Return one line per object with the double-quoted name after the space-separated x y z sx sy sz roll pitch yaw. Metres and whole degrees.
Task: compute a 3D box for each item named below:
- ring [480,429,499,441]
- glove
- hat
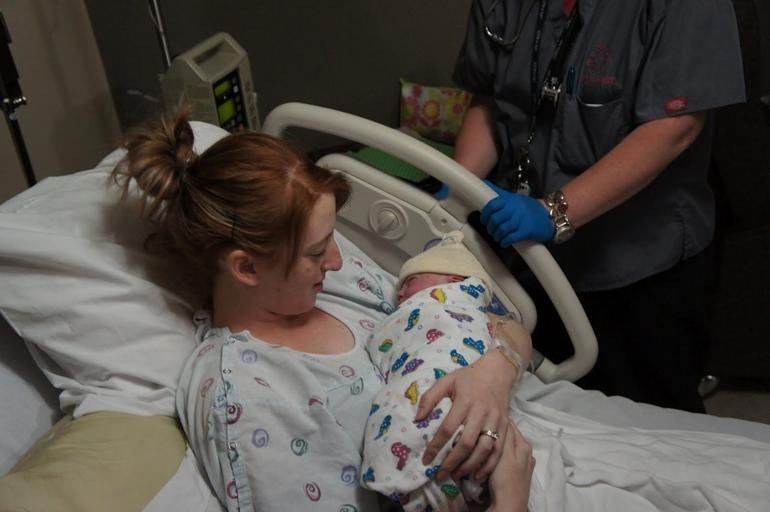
0.293 0.490 1.748 0.036 0.016 0.029 32 6 17 "ring"
0.443 -0.132 2.052 0.214 0.096 0.168 -31 64 -36 "glove"
0.206 0.030 2.138 0.249 0.194 0.188 24 62 -14 "hat"
